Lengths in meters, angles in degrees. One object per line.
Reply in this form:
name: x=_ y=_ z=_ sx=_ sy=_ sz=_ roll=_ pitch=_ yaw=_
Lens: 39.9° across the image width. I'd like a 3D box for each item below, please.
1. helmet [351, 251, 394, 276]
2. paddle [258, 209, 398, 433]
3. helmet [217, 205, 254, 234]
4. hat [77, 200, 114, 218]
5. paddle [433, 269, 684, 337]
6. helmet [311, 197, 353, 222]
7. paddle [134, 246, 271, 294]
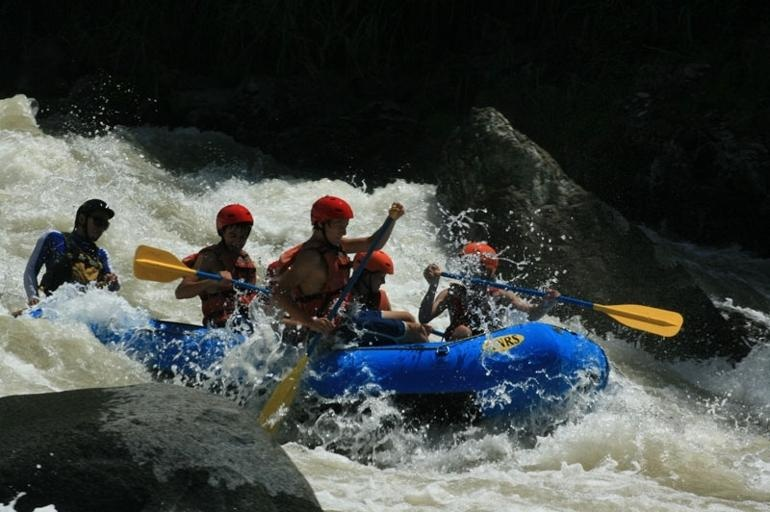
helmet: x=-0.103 y=0.083 z=11.596 sx=0.387 sy=0.177 sz=0.251 roll=12 pitch=6 yaw=-7
paddle: x=-0.582 y=0.789 z=11.368 sx=0.307 sy=2.930 sz=0.241 roll=39 pitch=-15 yaw=-29
helmet: x=-1.709 y=-0.409 z=11.952 sx=0.287 sy=0.267 sz=0.379 roll=-8 pitch=9 yaw=-42
hat: x=-3.329 y=-0.547 z=12.227 sx=0.322 sy=0.138 sz=0.220 roll=-10 pitch=-6 yaw=-1
paddle: x=2.166 y=0.581 z=12.639 sx=3.247 sy=0.366 sz=0.244 roll=11 pitch=-6 yaw=-3
helmet: x=-0.539 y=-0.501 z=11.300 sx=0.356 sy=0.208 sz=0.275 roll=18 pitch=15 yaw=10
paddle: x=-1.998 y=0.227 z=12.280 sx=0.104 sy=0.407 sz=2.076 roll=-14 pitch=-20 yaw=37
